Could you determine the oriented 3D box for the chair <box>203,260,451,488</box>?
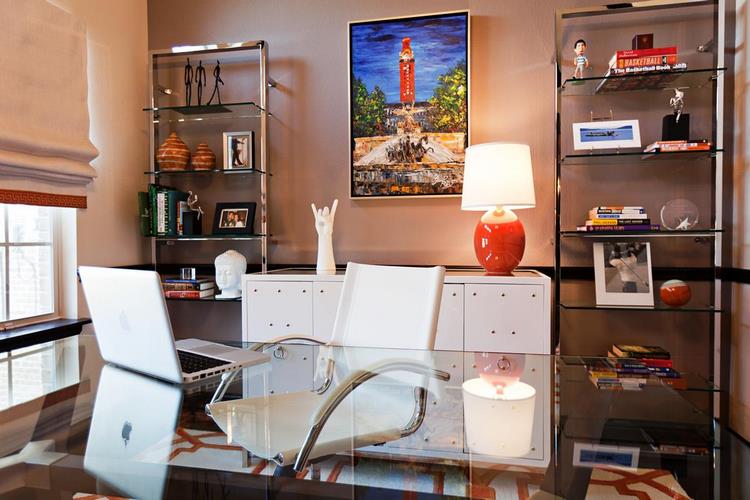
[{"bbox_3d":[-0.232,0.468,2.655,0.794,1.035,0.840,1,-2,44],"label":"chair"}]

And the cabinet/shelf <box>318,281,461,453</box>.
[{"bbox_3d":[0.090,0.358,3.087,0.513,0.786,0.612,2,-2,18],"label":"cabinet/shelf"}]

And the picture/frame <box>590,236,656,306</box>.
[{"bbox_3d":[1.694,0.153,3.828,0.509,0.594,0.023,0,-12,5],"label":"picture/frame"}]

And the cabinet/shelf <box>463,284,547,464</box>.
[{"bbox_3d":[0.516,0.630,2.369,0.272,0.391,0.276,1,1,-11],"label":"cabinet/shelf"}]

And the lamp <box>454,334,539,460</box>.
[{"bbox_3d":[0.491,0.664,2.276,0.292,0.387,0.237,1,-4,8],"label":"lamp"}]

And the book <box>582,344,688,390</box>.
[{"bbox_3d":[1.401,0.622,2.986,0.452,0.145,0.333,-2,3,-11],"label":"book"}]

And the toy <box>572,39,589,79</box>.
[{"bbox_3d":[1.394,-1.297,3.832,0.100,0.315,0.294,1,5,20],"label":"toy"}]

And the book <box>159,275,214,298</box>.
[{"bbox_3d":[-1.355,0.269,4.047,0.281,0.063,0.267,-1,1,-40],"label":"book"}]

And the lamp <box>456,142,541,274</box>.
[{"bbox_3d":[0.833,-0.258,3.759,0.767,0.784,0.735,-4,-1,0],"label":"lamp"}]

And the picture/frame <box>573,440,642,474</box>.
[{"bbox_3d":[0.843,0.755,2.044,0.256,0.014,0.139,-2,14,24],"label":"picture/frame"}]

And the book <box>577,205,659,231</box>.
[{"bbox_3d":[1.580,-0.201,3.703,0.418,0.153,0.147,2,5,25],"label":"book"}]

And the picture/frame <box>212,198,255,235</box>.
[{"bbox_3d":[-1.067,-0.239,4.245,0.311,0.249,0.030,0,-18,5],"label":"picture/frame"}]

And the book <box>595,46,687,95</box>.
[{"bbox_3d":[1.772,-1.169,3.704,0.419,0.140,0.425,0,1,22],"label":"book"}]
